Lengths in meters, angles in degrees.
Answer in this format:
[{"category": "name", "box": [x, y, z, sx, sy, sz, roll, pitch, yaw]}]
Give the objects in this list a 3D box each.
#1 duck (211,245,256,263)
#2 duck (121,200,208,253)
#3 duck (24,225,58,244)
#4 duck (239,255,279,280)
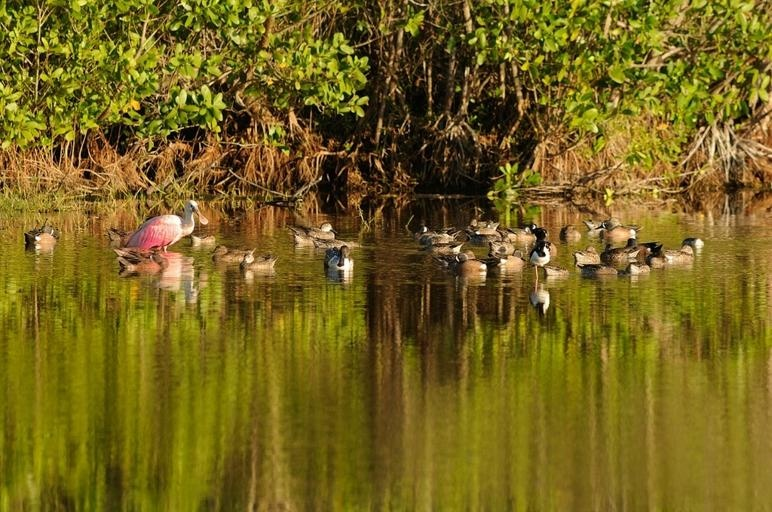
[{"category": "duck", "box": [-2.303, -0.009, 17.158, 0.597, 0.350, 0.308, 2, -1, 14]}, {"category": "duck", "box": [-3.531, -0.443, 18.022, 1.278, 0.858, 0.483, -1, 10, -5]}, {"category": "duck", "box": [-5.696, -0.308, 18.574, 0.483, 0.193, 0.363, 4, 1, -28]}, {"category": "duck", "box": [-1.852, 0.147, 16.346, 0.547, 0.340, 0.296, 1, -1, 4]}]
